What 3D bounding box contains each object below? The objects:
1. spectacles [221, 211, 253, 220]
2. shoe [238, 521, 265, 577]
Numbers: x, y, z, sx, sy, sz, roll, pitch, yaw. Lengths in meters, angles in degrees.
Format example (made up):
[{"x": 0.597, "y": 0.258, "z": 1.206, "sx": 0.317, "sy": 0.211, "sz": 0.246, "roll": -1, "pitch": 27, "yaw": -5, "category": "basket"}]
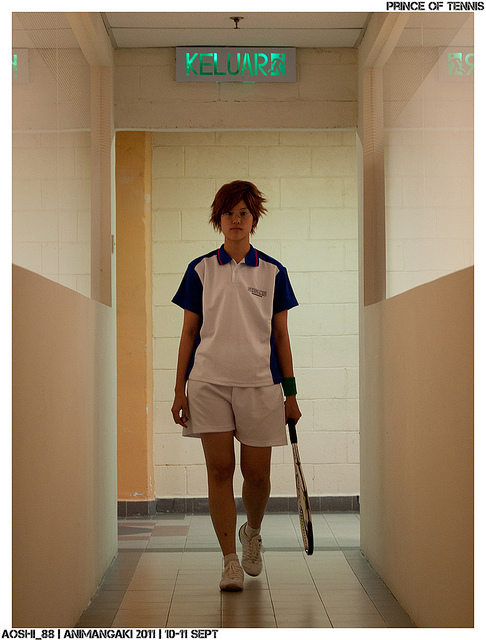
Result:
[{"x": -0.026, "y": -0.429, "z": 2.554, "sx": 0.112, "sy": 0.036, "sz": 0.031, "roll": 0, "pitch": -6, "yaw": -4, "category": "spectacles"}, {"x": 0.031, "y": 0.964, "z": 2.607, "sx": 0.093, "sy": 0.201, "sz": 0.137, "roll": 0, "pitch": -5, "yaw": 0, "category": "shoe"}]
